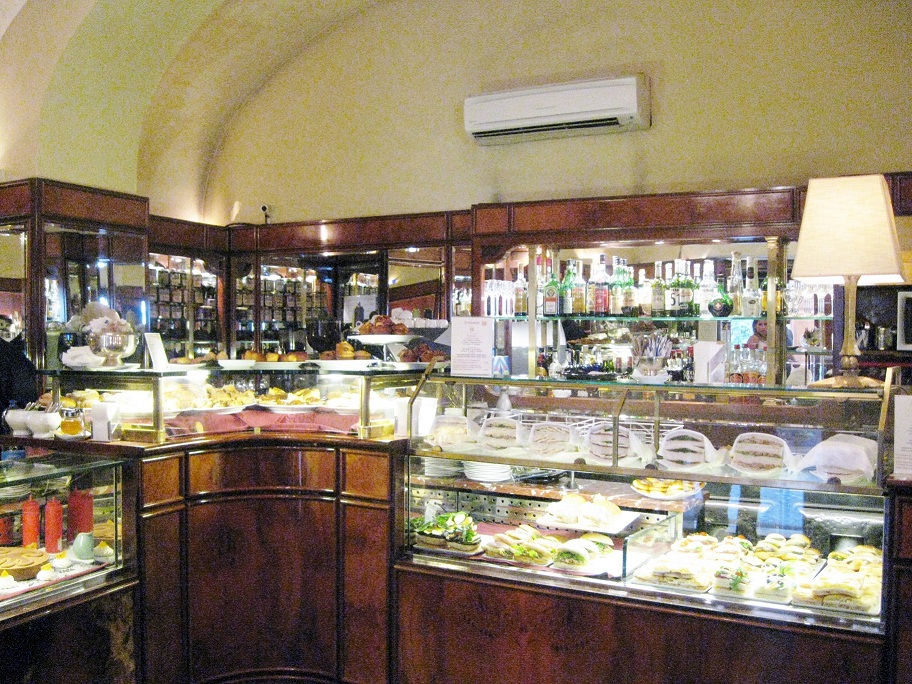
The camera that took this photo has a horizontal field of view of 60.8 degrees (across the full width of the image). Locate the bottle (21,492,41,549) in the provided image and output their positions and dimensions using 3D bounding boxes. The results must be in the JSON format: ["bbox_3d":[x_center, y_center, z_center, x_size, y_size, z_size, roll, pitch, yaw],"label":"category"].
[{"bbox_3d":[-2.037,0.865,3.722,0.088,0.256,0.101,-3,2,-28],"label":"bottle"}]

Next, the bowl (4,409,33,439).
[{"bbox_3d":[-2.473,0.459,4.385,0.159,0.128,0.156,2,5,0],"label":"bowl"}]

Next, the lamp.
[{"bbox_3d":[1.825,-0.293,3.628,0.439,0.959,0.726,0,2,30],"label":"lamp"}]

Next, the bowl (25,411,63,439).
[{"bbox_3d":[-2.282,0.463,4.296,0.153,0.126,0.150,0,-2,0],"label":"bowl"}]

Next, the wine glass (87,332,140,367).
[{"bbox_3d":[-2.004,0.035,4.590,0.233,0.160,0.229,0,-5,2],"label":"wine glass"}]

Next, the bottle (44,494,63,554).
[{"bbox_3d":[-1.959,0.889,3.782,0.085,0.294,0.087,-2,2,0],"label":"bottle"}]

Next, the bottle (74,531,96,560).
[{"bbox_3d":[-1.873,1.031,3.922,0.103,0.119,0.122,4,-4,1],"label":"bottle"}]
